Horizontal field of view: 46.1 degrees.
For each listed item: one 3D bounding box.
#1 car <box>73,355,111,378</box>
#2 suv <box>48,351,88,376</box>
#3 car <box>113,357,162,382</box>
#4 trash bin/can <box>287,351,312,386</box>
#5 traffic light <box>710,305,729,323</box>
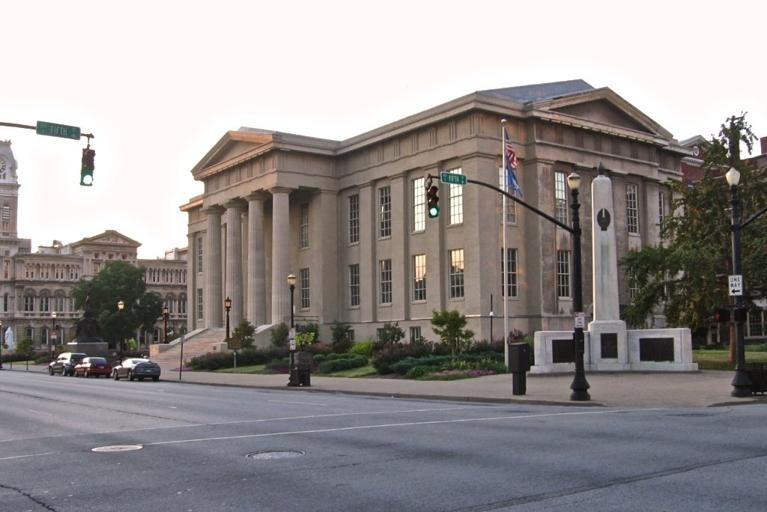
[{"bbox_3d":[-19.875,7.518,61.344,1.235,0.953,2.808,3,-3,-33],"label":"car"},{"bbox_3d":[-22.662,7.781,64.793,1.602,1.305,3.505,2,-2,-36],"label":"suv"},{"bbox_3d":[-15.140,6.934,55.226,1.531,0.977,3.132,5,-4,-33],"label":"car"},{"bbox_3d":[-4.292,5.549,44.426,1.414,2.545,1.448,3,-6,-4],"label":"trash bin/can"},{"bbox_3d":[12.584,2.196,33.623,0.440,0.542,0.864,2,-9,-16],"label":"traffic light"}]
